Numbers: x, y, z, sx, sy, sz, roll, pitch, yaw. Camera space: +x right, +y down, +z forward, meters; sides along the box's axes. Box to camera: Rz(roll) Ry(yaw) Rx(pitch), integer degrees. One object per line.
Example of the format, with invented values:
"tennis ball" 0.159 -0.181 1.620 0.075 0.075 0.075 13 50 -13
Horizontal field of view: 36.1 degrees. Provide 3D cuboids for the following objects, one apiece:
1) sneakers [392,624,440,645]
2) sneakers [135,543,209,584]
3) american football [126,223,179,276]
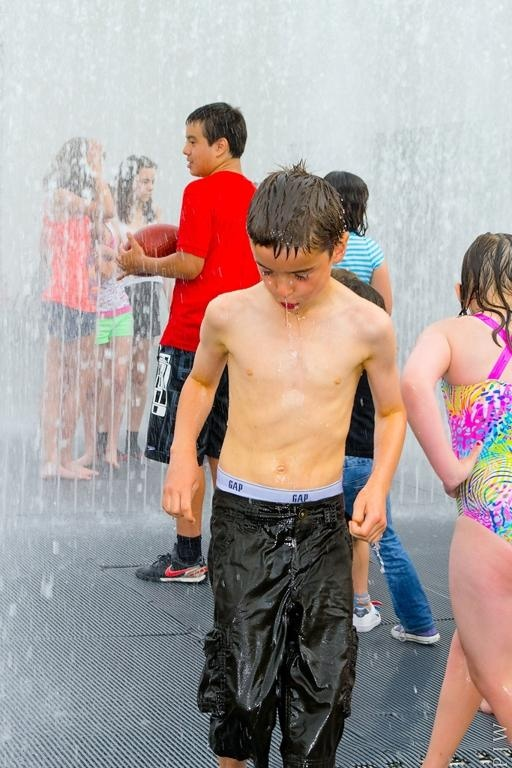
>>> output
"sneakers" 0.528 0.797 2.563 0.120 0.057 0.064 13 9 42
"sneakers" -0.318 0.693 3.096 0.308 0.153 0.117 -1 -1 15
"american football" -0.386 -0.537 3.099 0.228 0.168 0.146 -1 5 29
